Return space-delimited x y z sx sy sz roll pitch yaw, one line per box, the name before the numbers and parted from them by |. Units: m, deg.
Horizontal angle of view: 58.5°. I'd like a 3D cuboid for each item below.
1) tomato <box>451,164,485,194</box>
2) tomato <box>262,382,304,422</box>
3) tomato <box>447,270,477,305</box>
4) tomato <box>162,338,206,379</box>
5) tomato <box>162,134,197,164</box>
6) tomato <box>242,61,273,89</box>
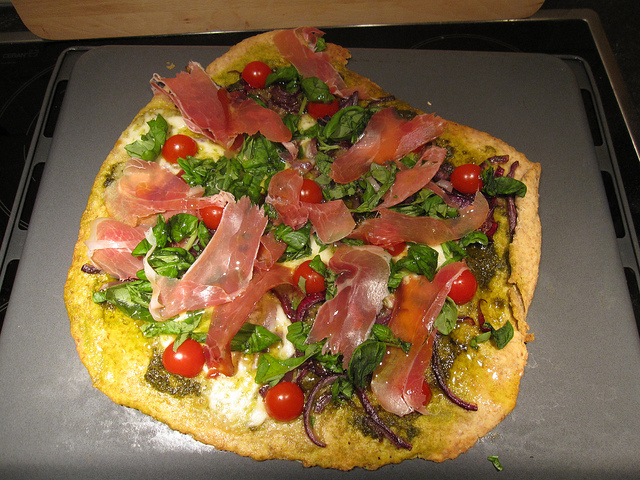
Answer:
tomato | 1.197 -0.538 4.763 0.204 0.265 0.211 -6 89 35
tomato | -0.262 1.195 4.271 0.317 0.316 0.257 5 88 -1
tomato | 1.073 0.354 4.467 0.214 0.268 0.254 11 34 7
tomato | -1.004 0.887 4.230 0.285 0.291 0.279 4 39 -15
tomato | -1.194 -0.775 4.814 0.257 0.284 0.160 -23 67 28
tomato | -0.567 -1.459 5.017 0.242 0.076 0.220 21 81 4
